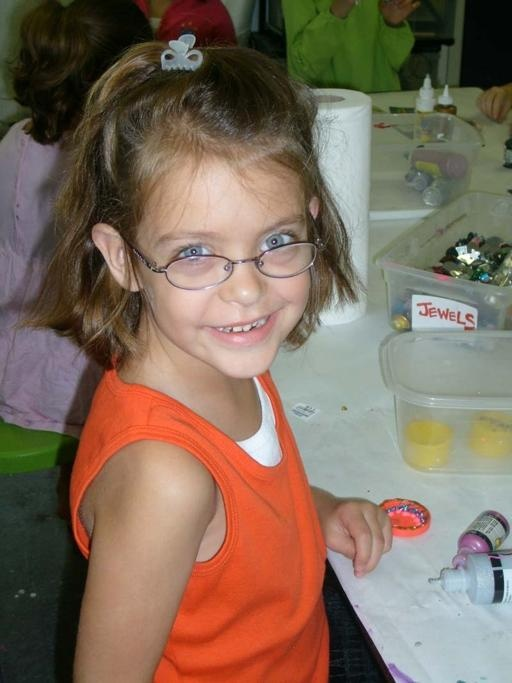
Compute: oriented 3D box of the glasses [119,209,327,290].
[{"bbox_3d":[-0.020,-0.079,0.623,0.194,0.052,0.073,-9,29,-12],"label":"glasses"}]
